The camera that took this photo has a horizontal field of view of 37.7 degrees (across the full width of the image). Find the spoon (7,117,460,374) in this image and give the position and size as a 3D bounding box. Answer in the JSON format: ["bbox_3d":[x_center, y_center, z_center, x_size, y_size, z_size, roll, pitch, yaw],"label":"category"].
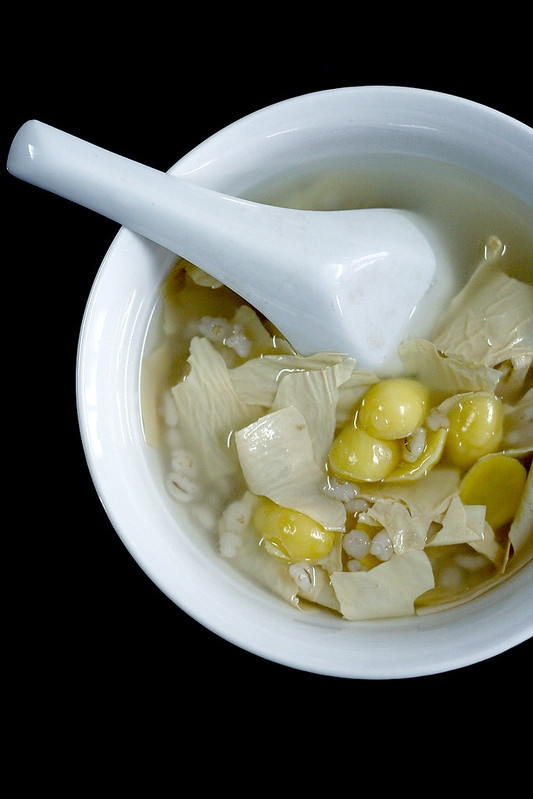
[{"bbox_3d":[-0.043,-0.223,1.266,0.695,0.267,0.193,24,6,-18],"label":"spoon"}]
